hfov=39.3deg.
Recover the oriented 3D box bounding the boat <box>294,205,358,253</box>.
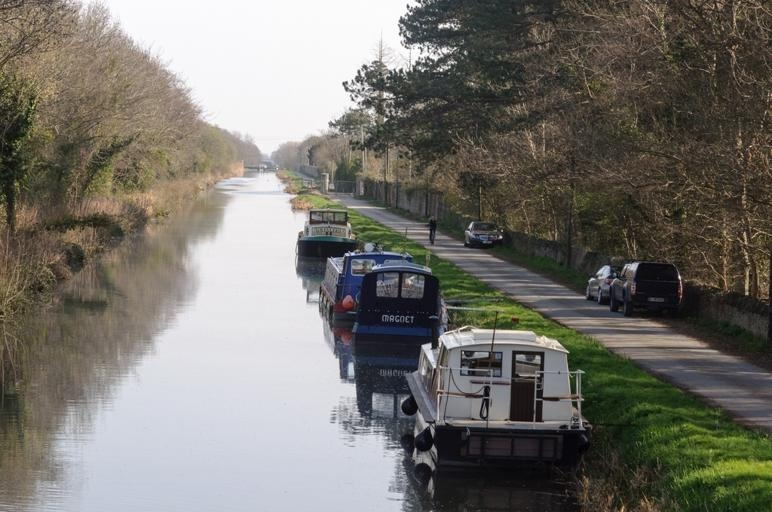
[{"bbox_3d":[-4.126,-1.739,74.863,3.546,3.479,8.783,0,1,-3],"label":"boat"}]

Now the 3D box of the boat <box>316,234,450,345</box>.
[{"bbox_3d":[-0.348,1.751,52.228,3.723,2.803,7.183,1,6,-7],"label":"boat"}]
